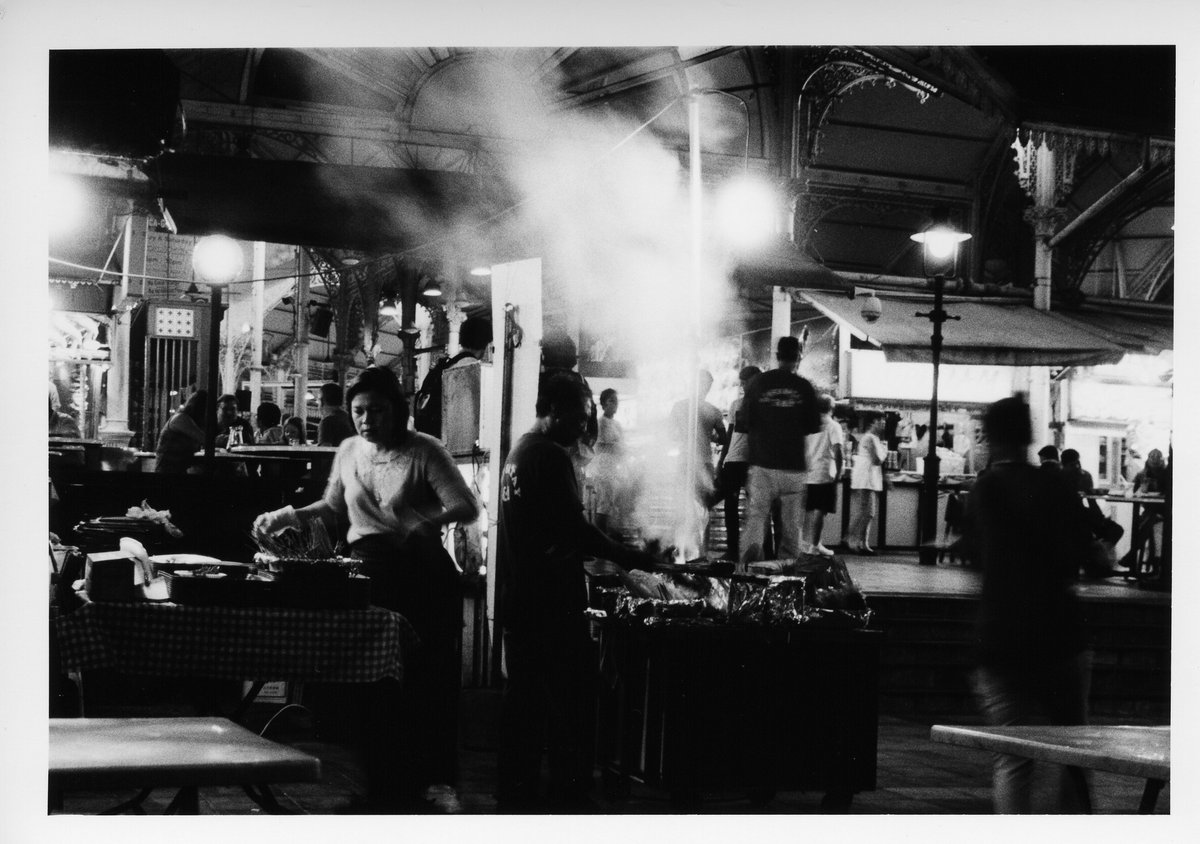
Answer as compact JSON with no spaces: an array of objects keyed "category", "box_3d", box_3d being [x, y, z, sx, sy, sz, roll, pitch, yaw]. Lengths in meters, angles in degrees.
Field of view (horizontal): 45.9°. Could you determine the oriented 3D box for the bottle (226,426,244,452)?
[{"category":"bottle","box_3d":[-2.051,0.096,7.939,0.104,0.133,0.043,3,3,-33]}]
